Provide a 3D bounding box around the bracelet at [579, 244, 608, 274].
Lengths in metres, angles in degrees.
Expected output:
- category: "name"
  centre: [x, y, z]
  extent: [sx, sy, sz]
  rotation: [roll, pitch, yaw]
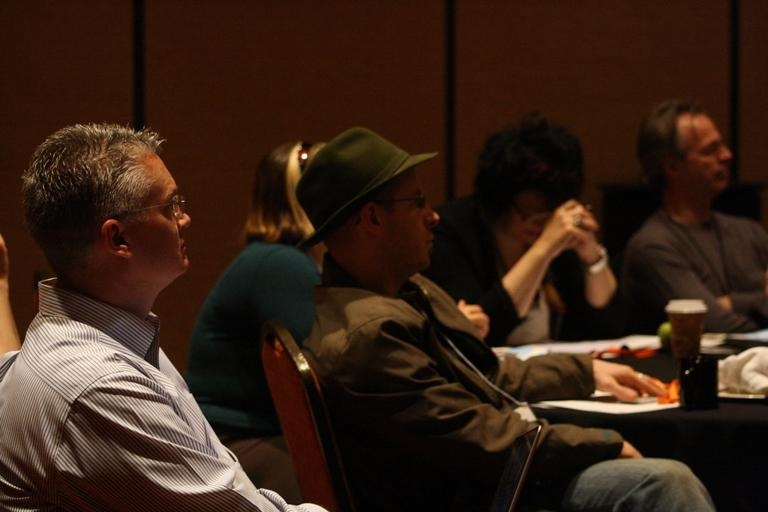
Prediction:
- category: "bracelet"
  centre: [0.648, 0.002, 2.408]
  extent: [0.026, 0.080, 0.078]
  rotation: [23, 26, -16]
